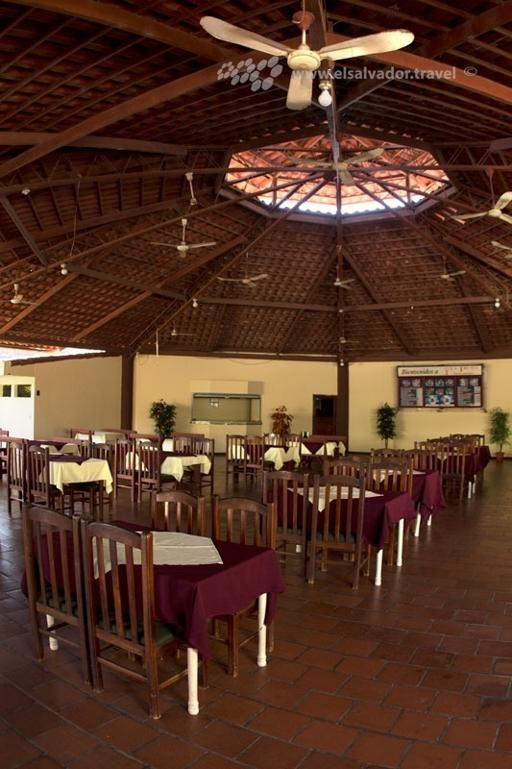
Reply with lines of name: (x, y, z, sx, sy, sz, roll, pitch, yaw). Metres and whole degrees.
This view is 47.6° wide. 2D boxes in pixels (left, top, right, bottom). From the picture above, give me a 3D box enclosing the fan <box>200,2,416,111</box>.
fan: (0.419, -2.720, 4.781, 1.319, 0.641, 1.371, 0, -8, -3)
